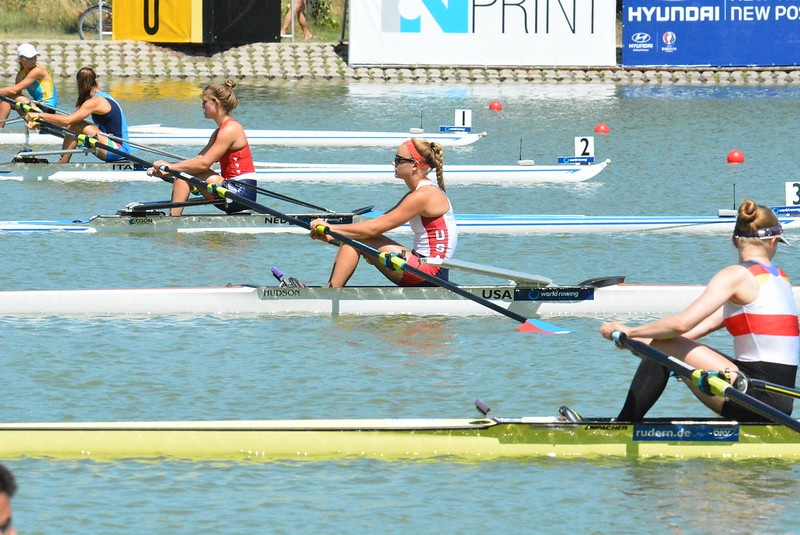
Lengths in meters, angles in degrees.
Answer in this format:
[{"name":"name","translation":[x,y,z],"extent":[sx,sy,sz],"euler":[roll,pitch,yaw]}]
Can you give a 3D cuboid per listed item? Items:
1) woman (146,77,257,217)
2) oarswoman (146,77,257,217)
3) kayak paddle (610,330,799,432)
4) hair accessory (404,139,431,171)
[{"name":"woman","translation":[-2.505,-1.540,17.662],"extent":[1.176,1.762,1.090],"euler":[2,9,9]},{"name":"oarswoman","translation":[-2.509,-1.540,17.657],"extent":[1.183,1.762,1.076],"euler":[2,9,9]},{"name":"kayak paddle","translation":[2.793,1.038,12.309],"extent":[0.359,0.263,2.641],"euler":[-34,33,-31]},{"name":"hair accessory","translation":[0.165,-1.213,14.586],"extent":[0.273,0.334,0.188],"euler":[0,9,0]}]
